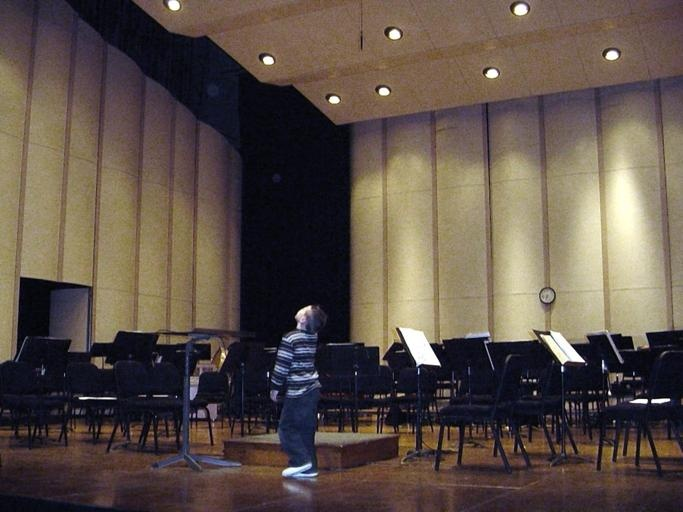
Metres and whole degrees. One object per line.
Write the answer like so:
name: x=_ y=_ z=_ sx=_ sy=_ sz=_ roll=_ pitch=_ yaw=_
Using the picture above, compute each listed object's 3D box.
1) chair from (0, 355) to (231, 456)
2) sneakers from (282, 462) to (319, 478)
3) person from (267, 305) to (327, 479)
chair: x=-3.011 y=1.935 z=9.924 sx=2.749 sy=1.221 sz=1.215 roll=-7 pitch=-13 yaw=21
sneakers: x=-0.425 y=2.218 z=7.849 sx=0.286 sy=0.127 sz=0.160 roll=5 pitch=-18 yaw=-8
person: x=-0.448 y=1.405 z=8.016 sx=0.589 sy=1.803 sz=0.364 roll=1 pitch=-11 yaw=-10
